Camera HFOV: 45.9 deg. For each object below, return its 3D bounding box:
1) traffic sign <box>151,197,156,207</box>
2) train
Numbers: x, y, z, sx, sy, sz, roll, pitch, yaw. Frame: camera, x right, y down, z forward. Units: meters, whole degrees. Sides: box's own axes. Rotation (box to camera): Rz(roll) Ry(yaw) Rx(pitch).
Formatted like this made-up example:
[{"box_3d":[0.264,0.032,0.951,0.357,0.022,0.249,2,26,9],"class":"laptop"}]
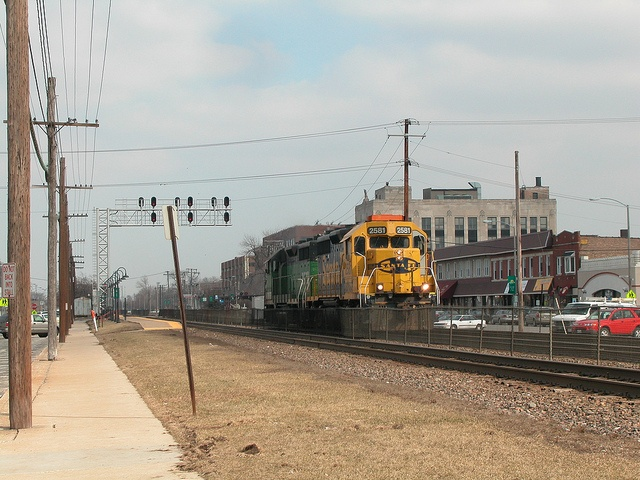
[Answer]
[{"box_3d":[-9.638,-2.174,43.654,0.177,0.478,0.553,0,-4,-1],"class":"traffic sign"},{"box_3d":[0.571,2.127,38.430,4.086,4.972,14.799,-1,-5,-24],"class":"train"}]
